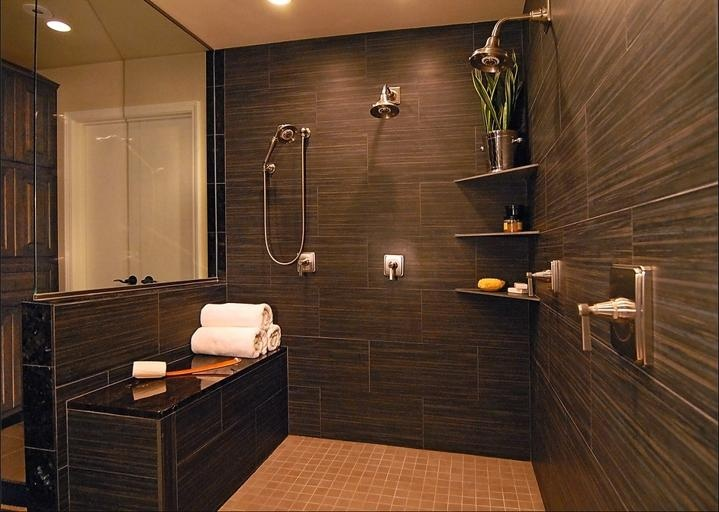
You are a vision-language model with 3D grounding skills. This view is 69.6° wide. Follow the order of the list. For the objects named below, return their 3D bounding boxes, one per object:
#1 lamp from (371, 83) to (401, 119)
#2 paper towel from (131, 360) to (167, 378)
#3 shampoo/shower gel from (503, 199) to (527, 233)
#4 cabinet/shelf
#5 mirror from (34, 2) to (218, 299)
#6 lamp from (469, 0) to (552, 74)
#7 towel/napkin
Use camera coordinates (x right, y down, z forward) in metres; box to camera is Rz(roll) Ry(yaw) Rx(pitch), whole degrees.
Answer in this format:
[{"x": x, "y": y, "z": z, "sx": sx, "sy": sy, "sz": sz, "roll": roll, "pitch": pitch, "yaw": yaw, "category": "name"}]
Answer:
[{"x": 0.156, "y": -0.919, "z": 2.978, "sx": 0.150, "sy": 0.230, "sz": 0.430, "roll": 1, "pitch": 8, "yaw": 6, "category": "lamp"}, {"x": -1.047, "y": 0.570, "z": 2.589, "sx": 0.136, "sy": 0.045, "sz": 0.085, "roll": -1, "pitch": -12, "yaw": -3, "category": "paper towel"}, {"x": 0.840, "y": -0.208, "z": 2.860, "sx": 0.133, "sy": 0.172, "sz": 0.177, "roll": 1, "pitch": -1, "yaw": 1, "category": "shampoo/shower gel"}, {"x": 0.930, "y": -0.111, "z": 2.905, "sx": 0.495, "sy": 0.631, "sz": 0.520, "roll": -16, "pitch": -22, "yaw": 35, "category": "cabinet/shelf"}, {"x": -1.184, "y": -0.520, "z": 2.872, "sx": 0.149, "sy": 1.440, "sz": 1.189, "roll": 3, "pitch": 9, "yaw": 17, "category": "mirror"}, {"x": 0.722, "y": -1.032, "z": 2.474, "sx": 0.502, "sy": 0.334, "sz": 0.277, "roll": -3, "pitch": 9, "yaw": -17, "category": "lamp"}, {"x": -0.759, "y": 0.439, "z": 3.088, "sx": 0.357, "sy": 0.214, "sz": 0.355, "roll": 0, "pitch": -3, "yaw": 8, "category": "towel/napkin"}]
